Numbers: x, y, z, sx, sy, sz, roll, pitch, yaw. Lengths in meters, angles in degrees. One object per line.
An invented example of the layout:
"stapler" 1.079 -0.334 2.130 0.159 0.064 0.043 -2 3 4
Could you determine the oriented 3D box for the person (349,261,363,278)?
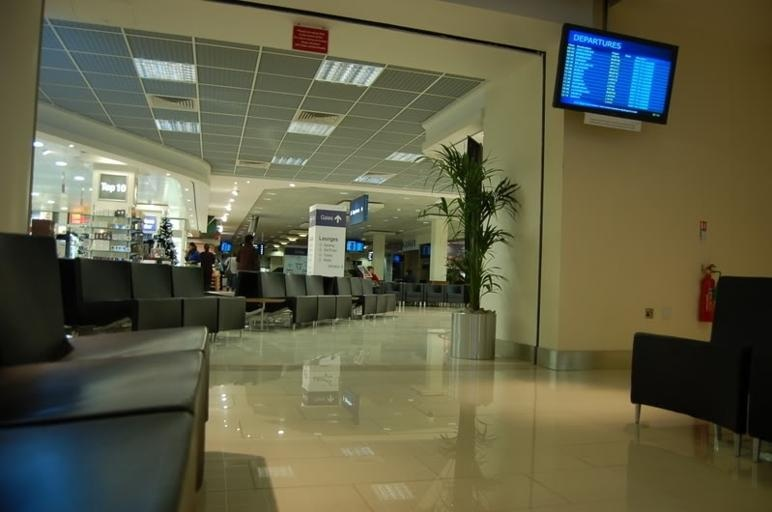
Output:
"person" -1.362 0.569 24.372 0.391 0.685 0.510 0 1 -11
